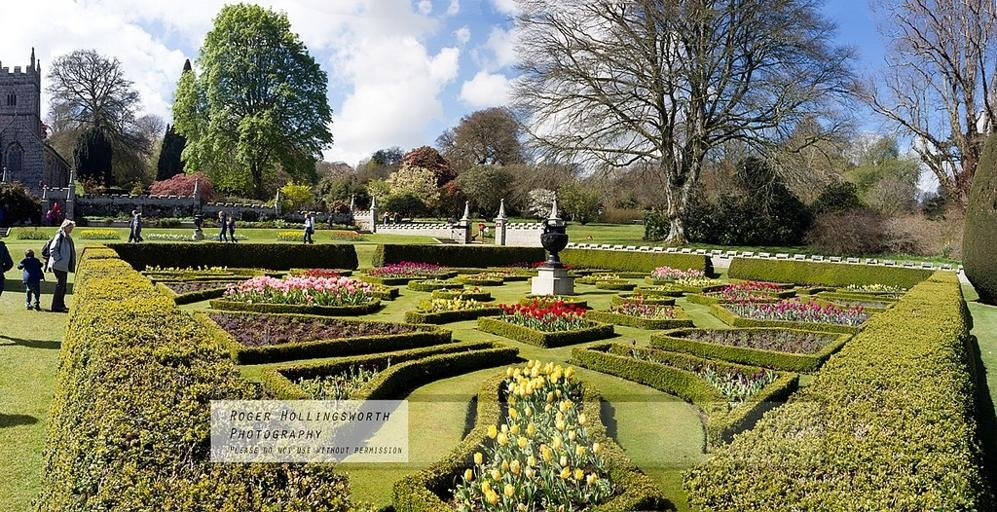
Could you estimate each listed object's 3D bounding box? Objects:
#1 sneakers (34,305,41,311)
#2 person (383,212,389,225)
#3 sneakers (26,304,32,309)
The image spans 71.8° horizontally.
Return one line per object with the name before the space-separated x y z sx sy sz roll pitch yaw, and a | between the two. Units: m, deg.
sneakers | -16.796 1.904 25.014 0.267 0.224 0.149 2 1 -11
person | -10.354 -3.588 63.082 0.539 1.056 2.355 1 1 -10
sneakers | -17.086 1.827 25.009 0.223 0.164 0.177 1 1 -6
